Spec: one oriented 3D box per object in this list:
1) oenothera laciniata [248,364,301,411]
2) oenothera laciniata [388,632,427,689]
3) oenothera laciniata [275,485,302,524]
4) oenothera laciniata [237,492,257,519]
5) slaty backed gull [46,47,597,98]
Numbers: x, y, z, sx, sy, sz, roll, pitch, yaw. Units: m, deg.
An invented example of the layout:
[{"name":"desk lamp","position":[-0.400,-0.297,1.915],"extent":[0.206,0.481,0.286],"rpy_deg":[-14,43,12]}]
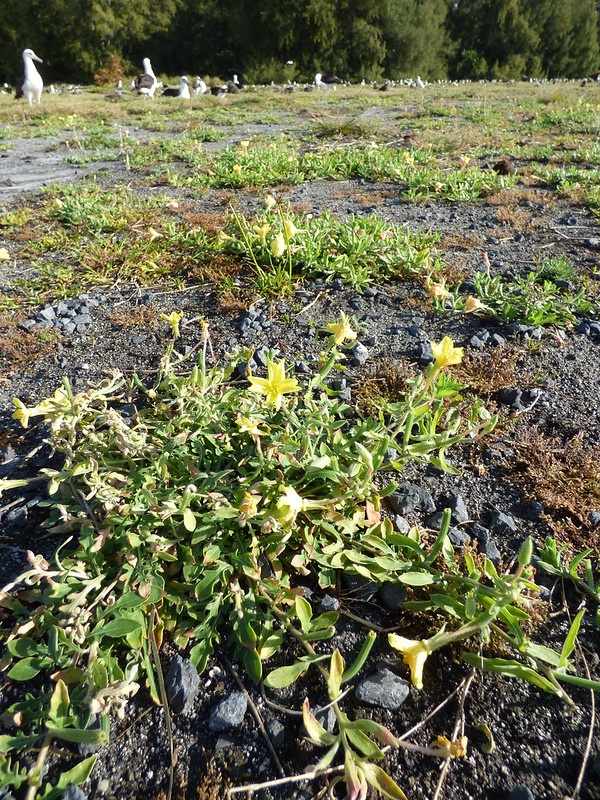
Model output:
[{"name":"oenothera laciniata","position":[-0.062,-0.038,1.520],"extent":[0.166,0.148,0.103],"rpy_deg":[-4,8,-5]},{"name":"oenothera laciniata","position":[0.243,0.530,1.245],"extent":[0.151,0.048,0.123],"rpy_deg":[15,-6,-34]},{"name":"oenothera laciniata","position":[-0.028,0.256,1.360],"extent":[0.052,0.143,0.108],"rpy_deg":[-2,31,-4]},{"name":"oenothera laciniata","position":[-0.128,0.257,1.425],"extent":[0.034,0.098,0.084],"rpy_deg":[-2,30,-3]},{"name":"slaty backed gull","position":[2.248,-13.588,24.119],"extent":[23.806,1.110,17.946],"rpy_deg":[-10,32,-18]}]
